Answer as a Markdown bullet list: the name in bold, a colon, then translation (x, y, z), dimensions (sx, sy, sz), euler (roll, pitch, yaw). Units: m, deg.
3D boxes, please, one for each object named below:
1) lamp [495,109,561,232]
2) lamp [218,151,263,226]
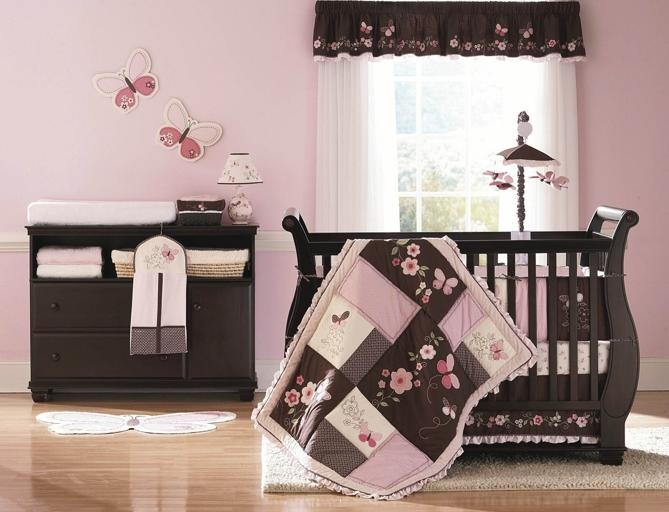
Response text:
- **lamp**: translation (1.071, -0.476, 4.927), dimensions (0.283, 0.665, 0.456), euler (2, 0, 21)
- **lamp**: translation (-0.599, -0.427, 5.473), dimensions (0.274, 0.449, 0.338), euler (-1, 11, -5)
